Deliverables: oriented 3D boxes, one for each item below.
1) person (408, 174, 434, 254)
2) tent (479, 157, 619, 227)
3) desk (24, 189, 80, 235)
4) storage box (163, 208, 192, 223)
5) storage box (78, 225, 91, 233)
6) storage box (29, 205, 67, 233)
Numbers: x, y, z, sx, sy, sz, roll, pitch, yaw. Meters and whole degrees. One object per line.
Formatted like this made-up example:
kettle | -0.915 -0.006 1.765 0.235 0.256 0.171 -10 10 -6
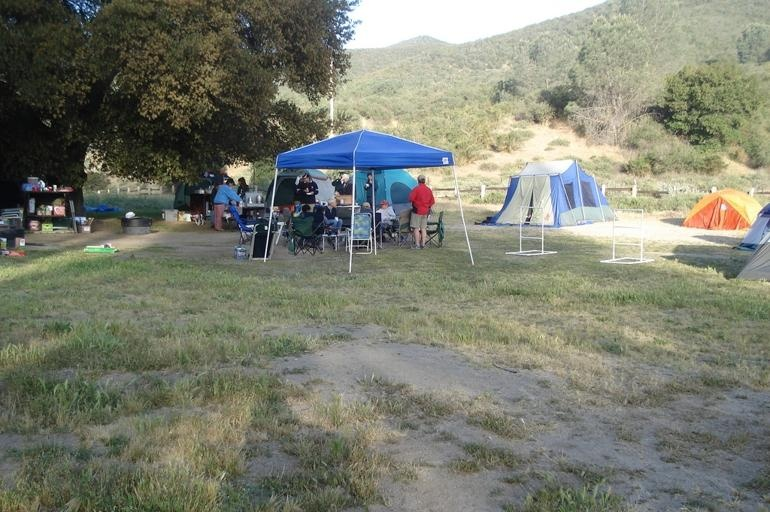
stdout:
person | 0.994 -1.189 17.163 0.648 1.914 0.516 1 7 -13
tent | 6.347 -2.313 23.655 4.369 2.538 1.934 0 7 -18
desk | -10.935 -1.413 20.558 1.523 1.492 0.913 0 -3 -14
storage box | -8.195 -1.597 24.933 1.076 0.402 0.804 0 8 -19
storage box | -9.374 -0.862 19.703 0.301 0.223 0.158 -1 8 -24
storage box | -11.075 -1.220 20.554 1.076 0.753 1.161 0 4 0
